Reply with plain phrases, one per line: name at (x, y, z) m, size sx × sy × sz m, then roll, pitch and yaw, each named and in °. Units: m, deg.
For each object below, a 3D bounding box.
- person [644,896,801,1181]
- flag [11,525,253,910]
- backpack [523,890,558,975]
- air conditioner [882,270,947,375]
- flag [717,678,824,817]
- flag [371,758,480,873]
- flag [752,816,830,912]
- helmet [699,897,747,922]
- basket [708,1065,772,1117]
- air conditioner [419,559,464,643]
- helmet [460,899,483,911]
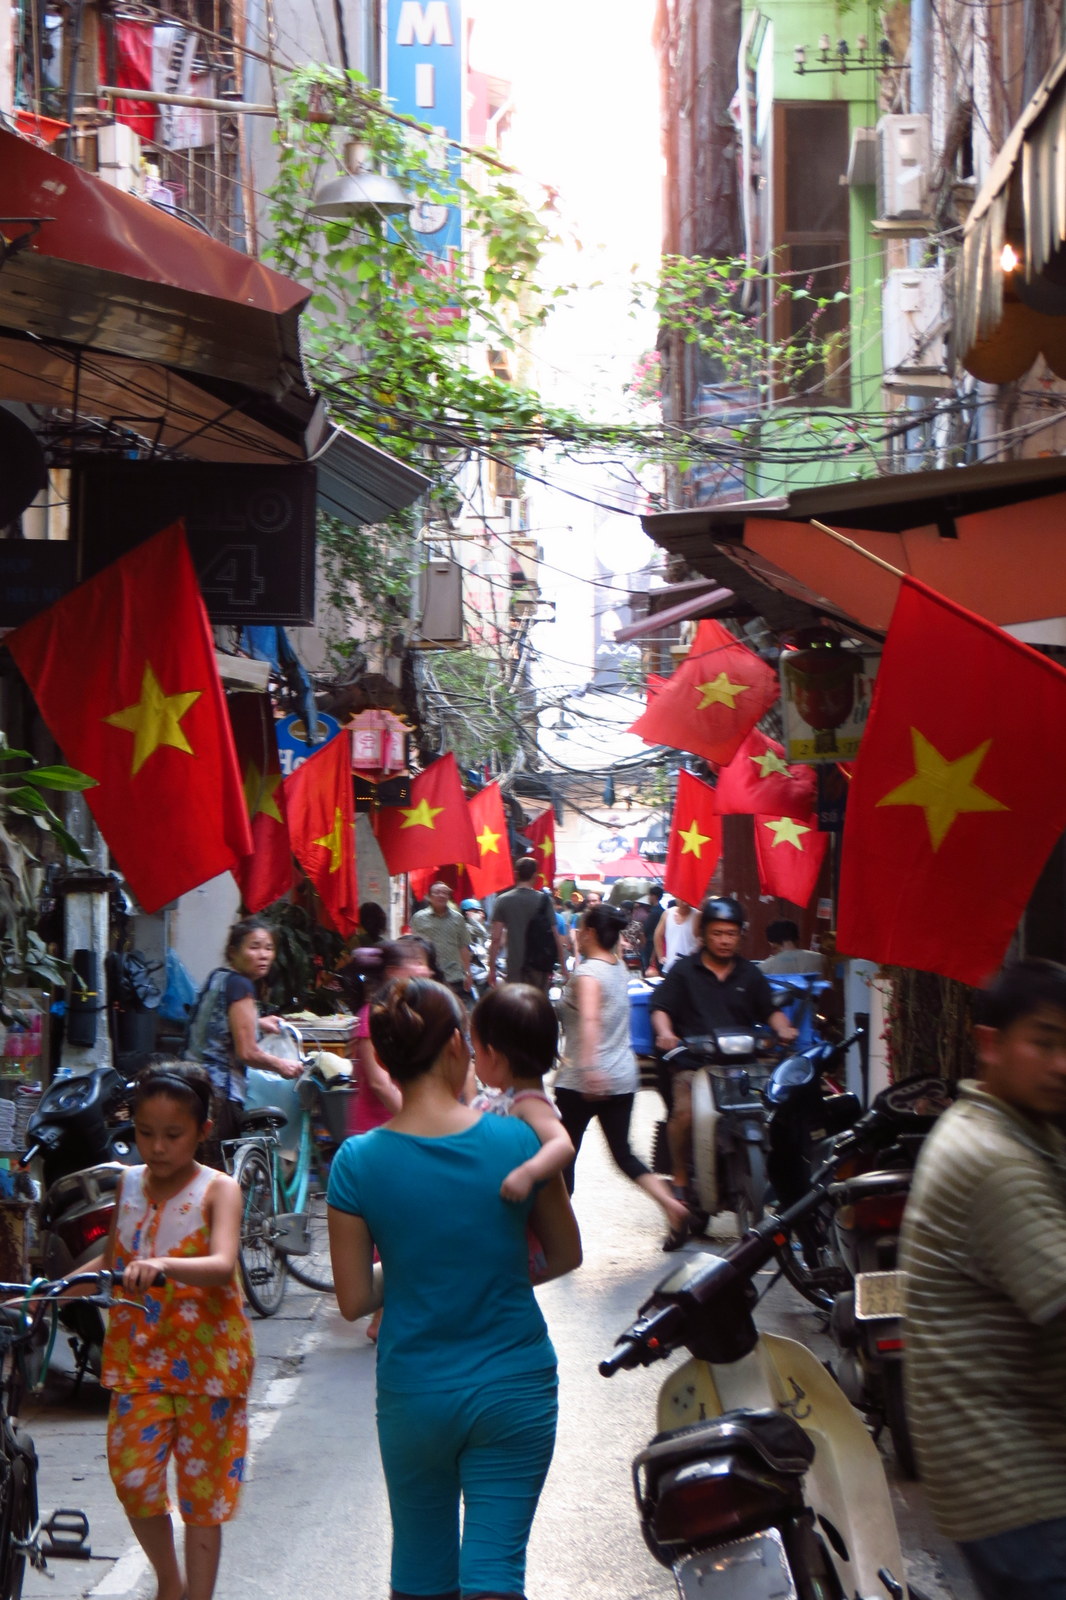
person at (0.851, 0.950, 9.090) m, size 0.783 × 0.811 × 1.291 m, roll 0°, pitch -1°, yaw -3°
flag at (-1.270, -0.278, 5.841) m, size 0.640 × 1.181 × 0.790 m, roll -7°, pitch 9°, yaw -20°
backpack at (0.071, 1.188, 16.016) m, size 0.272 × 0.729 × 0.585 m, roll -3°, pitch 8°, yaw 3°
air conditioner at (2.475, -3.083, 12.083) m, size 0.510 × 0.681 × 0.496 m, roll -2°, pitch 2°, yaw 10°
flag at (1.463, -0.332, 11.481) m, size 0.942 × 0.920 × 0.118 m, roll -3°, pitch 0°, yaw -15°
flag at (-0.862, 0.089, 15.269) m, size 0.803 × 0.940 × 0.627 m, roll -5°, pitch 8°, yaw -13°
flag at (1.864, 0.421, 13.284) m, size 0.480 × 0.776 × 0.763 m, roll -3°, pitch 8°, yaw 8°
helmet at (0.898, 0.515, 8.816) m, size 0.124 × 0.116 × 0.161 m, roll 2°, pitch 6°, yaw 8°
basket at (0.912, 1.260, 8.171) m, size 0.221 × 0.121 × 0.201 m, roll 3°, pitch 20°, yaw 8°
air conditioner at (-0.825, -1.765, 16.462) m, size 0.505 × 0.748 × 0.376 m, roll -1°, pitch 9°, yaw 15°
helmet at (-0.863, 1.481, 26.708) m, size 0.260 × 0.124 × 0.185 m, roll -4°, pitch 8°, yaw 27°
